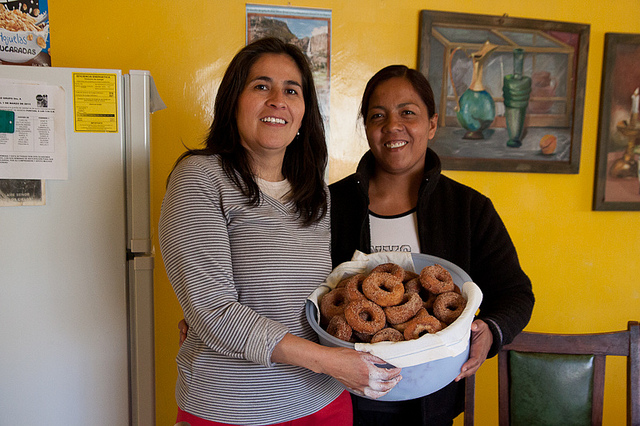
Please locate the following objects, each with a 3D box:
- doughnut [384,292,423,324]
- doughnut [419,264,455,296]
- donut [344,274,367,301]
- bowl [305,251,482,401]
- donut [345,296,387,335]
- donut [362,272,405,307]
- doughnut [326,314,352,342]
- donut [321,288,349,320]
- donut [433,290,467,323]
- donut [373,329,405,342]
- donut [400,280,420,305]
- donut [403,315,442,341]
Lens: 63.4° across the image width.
[{"bbox_3d":[0.277,0.304,1.783,0.108,0.037,0.109,-19,14,32],"label":"doughnut"},{"bbox_3d":[0.414,0.235,1.842,0.105,0.103,0.037,21,-51,-19],"label":"doughnut"},{"bbox_3d":[0.124,0.263,1.844,0.077,0.074,0.025,1,-27,-30],"label":"donut"},{"bbox_3d":[0.251,0.348,1.792,0.561,0.264,0.547,-1,34,1],"label":"bowl"},{"bbox_3d":[0.156,0.352,1.784,0.129,0.114,0.083,4,9,23],"label":"donut"},{"bbox_3d":[0.227,0.266,1.858,0.177,0.059,0.173,1,26,-4],"label":"donut"},{"bbox_3d":[0.059,0.396,1.788,0.076,0.081,0.025,-25,-33,33],"label":"doughnut"},{"bbox_3d":[0.049,0.323,1.853,0.102,0.099,0.033,-4,-20,-26],"label":"donut"},{"bbox_3d":[0.443,0.321,1.821,0.109,0.040,0.112,10,52,41],"label":"donut"},{"bbox_3d":[0.231,0.412,1.742,0.055,0.018,0.053,0,7,-21],"label":"donut"},{"bbox_3d":[0.333,0.280,1.863,0.024,0.071,0.071,39,-31,-15],"label":"donut"},{"bbox_3d":[0.342,0.378,1.741,0.085,0.027,0.082,-1,-33,-46],"label":"donut"}]
